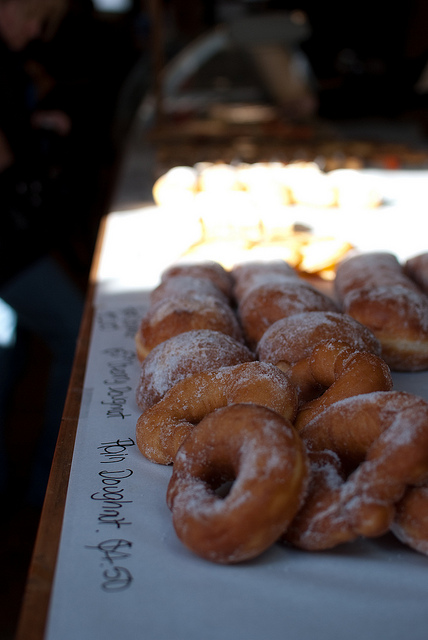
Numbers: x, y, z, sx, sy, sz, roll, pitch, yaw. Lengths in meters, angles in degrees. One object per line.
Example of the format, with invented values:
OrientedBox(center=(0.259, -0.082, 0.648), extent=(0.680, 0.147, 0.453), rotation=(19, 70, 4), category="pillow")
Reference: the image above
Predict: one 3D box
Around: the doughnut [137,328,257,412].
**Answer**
OrientedBox(center=(-0.027, 0.041, 0.653), extent=(0.103, 0.097, 0.057), rotation=(-13, 97, 4), category="doughnut")

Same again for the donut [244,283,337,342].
OrientedBox(center=(0.105, -0.013, 0.800), extent=(0.091, 0.043, 0.087), rotation=(-1, 24, -2), category="donut")

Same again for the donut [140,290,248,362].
OrientedBox(center=(-0.052, 0.004, 0.817), extent=(0.158, 0.123, 0.041), rotation=(-9, 77, 9), category="donut")

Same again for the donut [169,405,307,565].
OrientedBox(center=(0.041, 0.118, 0.474), extent=(0.112, 0.044, 0.108), rotation=(0, 66, 47), category="donut")
